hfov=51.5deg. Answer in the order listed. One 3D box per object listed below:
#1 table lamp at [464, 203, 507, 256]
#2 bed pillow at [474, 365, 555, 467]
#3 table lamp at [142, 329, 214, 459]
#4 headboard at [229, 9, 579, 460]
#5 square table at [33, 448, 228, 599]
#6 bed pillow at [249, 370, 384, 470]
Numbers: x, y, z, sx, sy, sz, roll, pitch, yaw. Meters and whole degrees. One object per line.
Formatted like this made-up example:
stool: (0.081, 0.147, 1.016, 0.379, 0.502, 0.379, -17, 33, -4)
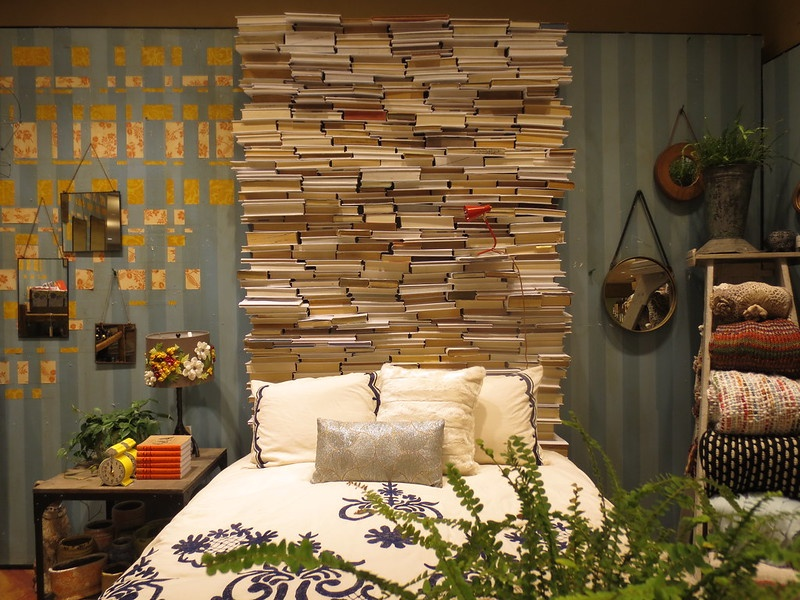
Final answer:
table lamp: (0.527, -0.460, 5.410, 0.219, 0.329, 0.172, 0, 2, 5)
bed pillow: (0.675, 0.710, 4.982, 0.485, 0.587, 0.222, -2, -35, 6)
table lamp: (-1.447, 0.662, 5.512, 0.406, 0.880, 0.430, 4, 7, 35)
headboard: (0.023, -0.551, 5.893, 2.292, 3.274, 0.493, 0, 38, -1)
square table: (-1.711, 1.216, 5.433, 1.031, 1.111, 0.833, 0, 1, -2)
bed pillow: (-0.515, 0.744, 5.197, 0.768, 0.574, 0.285, -2, -1, -2)
